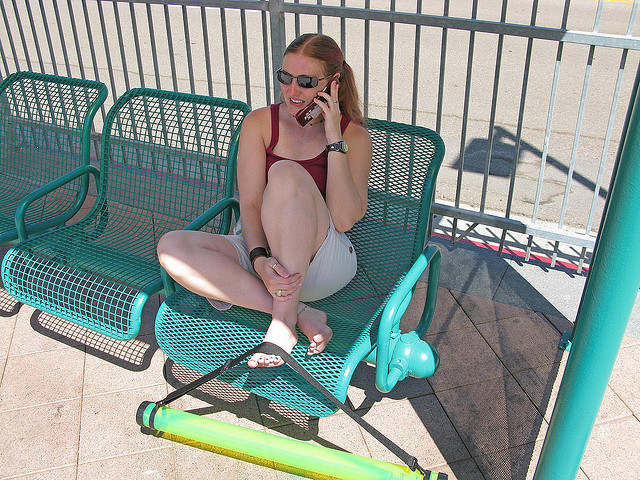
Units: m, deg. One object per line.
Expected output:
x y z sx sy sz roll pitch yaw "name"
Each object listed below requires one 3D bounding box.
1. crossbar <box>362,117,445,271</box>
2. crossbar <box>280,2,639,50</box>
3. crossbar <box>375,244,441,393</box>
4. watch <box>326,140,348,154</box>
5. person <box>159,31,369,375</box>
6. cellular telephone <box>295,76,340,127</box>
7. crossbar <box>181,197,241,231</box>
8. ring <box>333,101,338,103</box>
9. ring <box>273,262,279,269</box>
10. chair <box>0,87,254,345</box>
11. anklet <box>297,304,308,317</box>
0.449 -0.258 2.875 0.449 0.644 0.796 4 32 4 "crossbar"
0.835 -1.395 3.305 2.219 0.098 0.195 13 34 17 "crossbar"
0.450 0.412 2.660 0.060 0.607 0.619 19 67 22 "crossbar"
0.094 -0.476 2.615 0.084 0.061 0.088 -2 -2 0 "watch"
-0.289 -0.270 2.501 0.886 1.339 1.318 6 17 9 "person"
-0.012 -0.720 2.622 0.288 0.076 0.070 -44 27 7 "cellular telephone"
-0.689 -0.162 3.230 0.070 0.145 0.383 19 38 25 "crossbar"
0.078 -0.708 2.625 0.026 0.010 0.004 -21 37 -32 "ring"
-0.206 0.118 2.377 0.015 0.006 0.023 11 70 24 "ring"
-1.239 -0.144 3.174 0.953 0.898 1.319 19 43 16 "chair"
-0.084 0.336 2.423 0.012 0.012 0.091 -19 19 50 "anklet"
